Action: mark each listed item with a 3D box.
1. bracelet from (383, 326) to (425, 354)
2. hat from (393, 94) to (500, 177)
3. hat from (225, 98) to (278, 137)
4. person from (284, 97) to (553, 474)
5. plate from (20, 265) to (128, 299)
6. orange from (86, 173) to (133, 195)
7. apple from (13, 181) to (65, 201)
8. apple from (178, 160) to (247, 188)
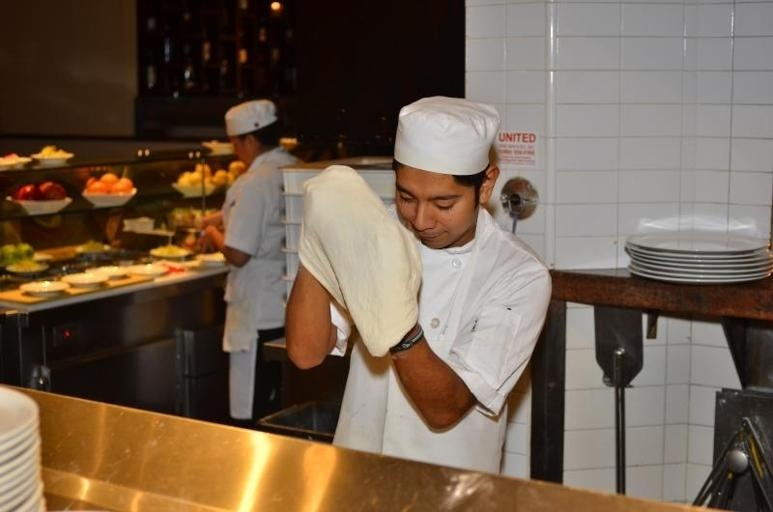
[{"bbox_3d":[0.049,0.205,1.563,0.026,0.073,0.065,44,32,11],"label":"bracelet"},{"bbox_3d":[0.178,-0.348,1.832,0.270,0.179,0.344,18,21,30],"label":"hat"},{"bbox_3d":[-0.734,-0.757,3.492,0.289,0.156,0.222,-14,28,-12],"label":"hat"},{"bbox_3d":[0.079,0.230,1.877,0.669,1.272,0.680,-6,22,-29],"label":"person"},{"bbox_3d":[-1.558,0.130,3.251,0.332,0.036,0.160,-11,19,-42],"label":"plate"},{"bbox_3d":[-1.420,-0.348,3.317,0.122,0.068,0.131,2,3,6],"label":"orange"},{"bbox_3d":[-1.675,-0.306,3.131,0.125,0.074,0.118,0,-3,-33],"label":"apple"},{"bbox_3d":[-0.993,-0.440,3.535,0.183,0.085,0.227,-6,2,0],"label":"apple"}]
